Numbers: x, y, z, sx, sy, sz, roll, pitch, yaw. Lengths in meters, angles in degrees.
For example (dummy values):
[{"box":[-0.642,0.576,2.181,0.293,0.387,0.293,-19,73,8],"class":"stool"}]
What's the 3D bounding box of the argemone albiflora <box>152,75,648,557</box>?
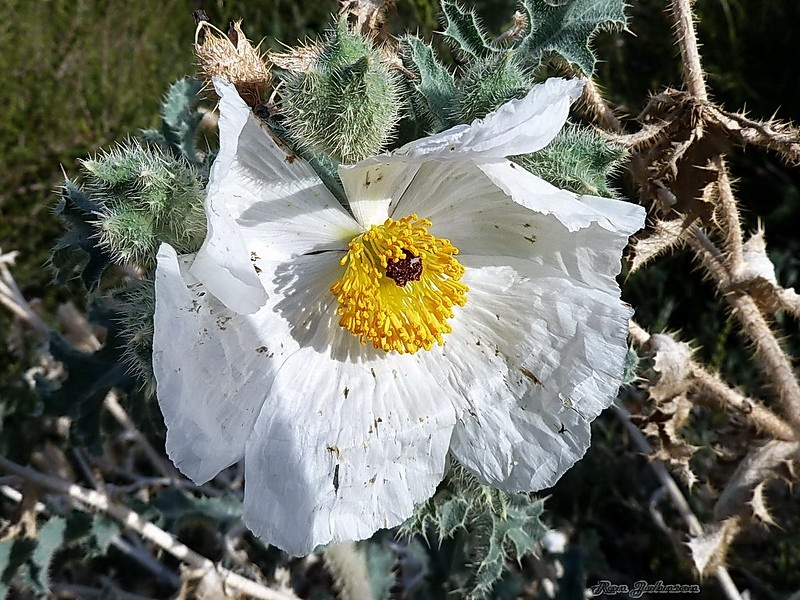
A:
[{"box":[0.000,0.067,2.186,1.158,0.448,1.042,-5,82,-4],"class":"argemone albiflora"}]
